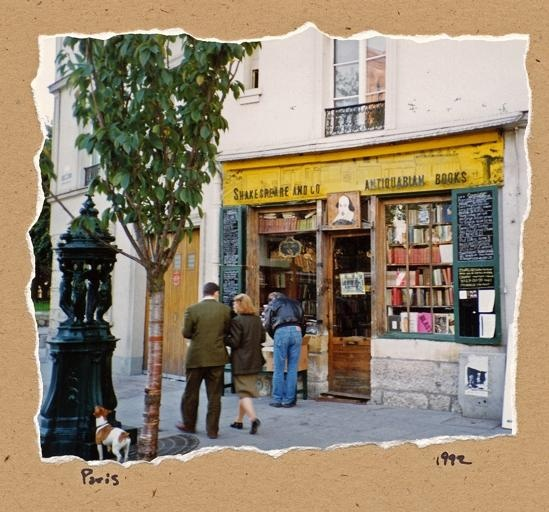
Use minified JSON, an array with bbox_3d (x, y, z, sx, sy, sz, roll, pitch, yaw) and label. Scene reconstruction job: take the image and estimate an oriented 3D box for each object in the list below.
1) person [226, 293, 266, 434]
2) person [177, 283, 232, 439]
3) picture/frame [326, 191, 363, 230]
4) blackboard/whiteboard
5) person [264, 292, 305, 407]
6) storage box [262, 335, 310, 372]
[{"bbox_3d":[-0.303,1.163,8.967,0.457,1.346,0.477,4,2,-14],"label":"person"},{"bbox_3d":[-0.720,1.105,8.754,0.494,1.481,0.618,0,0,24],"label":"person"},{"bbox_3d":[0.936,-0.621,11.245,0.448,0.505,0.063,-2,-1,20],"label":"picture/frame"},{"bbox_3d":[2.434,0.111,10.016,0.500,1.857,0.316,-1,0,31],"label":"blackboard/whiteboard"},{"bbox_3d":[0.118,1.232,10.812,0.526,1.358,0.537,3,1,1],"label":"person"},{"bbox_3d":[0.173,1.369,11.389,0.580,0.536,0.528,1,-1,22],"label":"storage box"}]
